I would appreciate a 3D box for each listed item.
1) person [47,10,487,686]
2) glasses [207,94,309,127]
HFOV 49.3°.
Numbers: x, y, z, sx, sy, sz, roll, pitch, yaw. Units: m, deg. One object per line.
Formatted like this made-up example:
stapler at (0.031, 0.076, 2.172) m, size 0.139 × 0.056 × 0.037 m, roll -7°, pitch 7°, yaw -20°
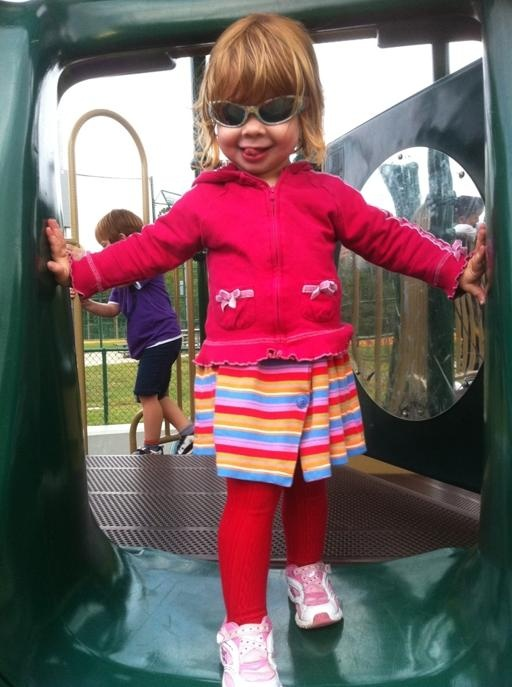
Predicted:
person at (0.026, -0.018, 0.892) m, size 0.647 × 0.977 × 0.472 m, roll -7°, pitch 7°, yaw -24°
glasses at (0.001, -0.349, 0.846) m, size 0.141 × 0.044 × 0.036 m, roll -4°, pitch 7°, yaw -1°
